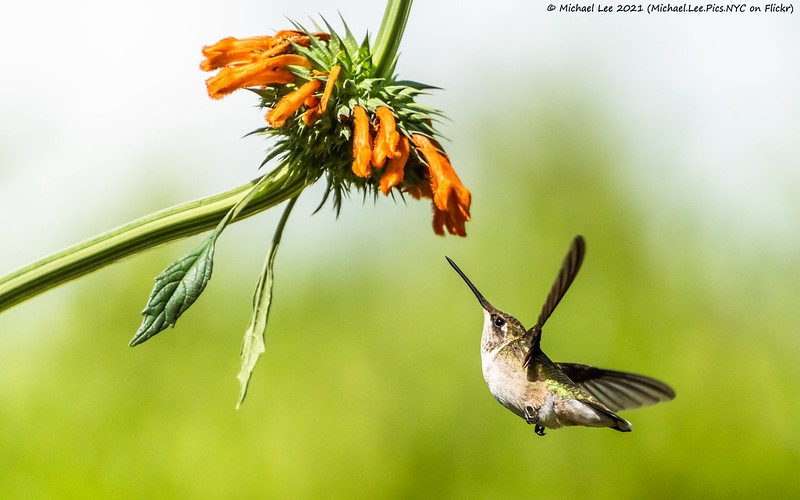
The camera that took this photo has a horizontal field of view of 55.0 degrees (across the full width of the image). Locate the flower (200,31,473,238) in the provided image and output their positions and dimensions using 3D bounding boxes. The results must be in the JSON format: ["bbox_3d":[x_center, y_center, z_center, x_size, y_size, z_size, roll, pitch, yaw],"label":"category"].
[{"bbox_3d":[-0.172,-0.481,2.914,1.004,0.749,0.555,29,-72,14],"label":"flower"}]
